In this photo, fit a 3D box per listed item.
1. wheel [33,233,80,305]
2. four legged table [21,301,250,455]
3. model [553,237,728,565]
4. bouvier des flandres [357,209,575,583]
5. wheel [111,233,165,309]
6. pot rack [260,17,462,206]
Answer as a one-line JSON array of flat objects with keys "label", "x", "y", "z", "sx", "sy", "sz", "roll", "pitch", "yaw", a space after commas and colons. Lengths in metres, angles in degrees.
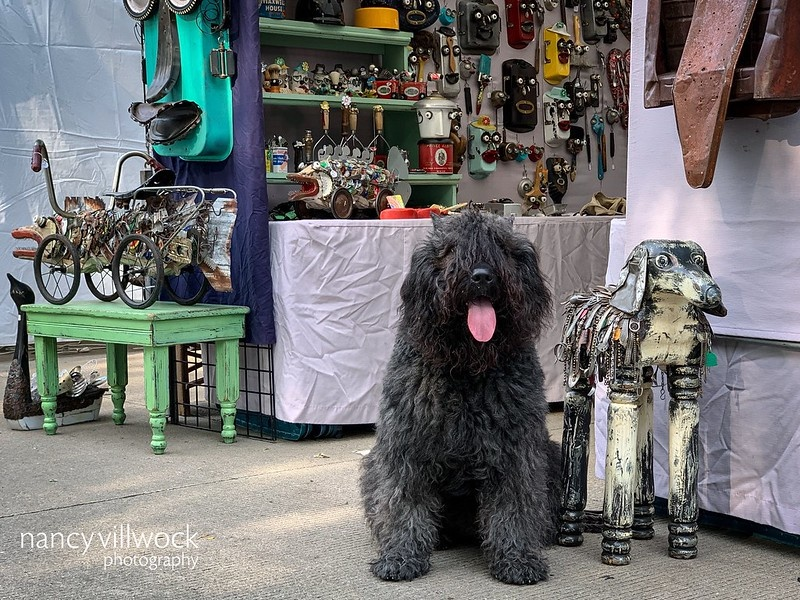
[{"label": "wheel", "x": -2.212, "y": -0.192, "z": 4.753, "sx": 0.528, "sy": 0.453, "sz": 0.204, "roll": 4, "pitch": 7, "yaw": 37}, {"label": "four legged table", "x": -1.732, "y": 0.506, "z": 4.783, "sx": 1.360, "sy": 0.940, "sz": 0.834, "roll": 0, "pitch": 1, "yaw": 27}, {"label": "model", "x": 0.926, "y": 0.385, "z": 2.862, "sx": 0.613, "sy": 1.226, "sz": 0.399, "roll": 2, "pitch": 7, "yaw": 24}, {"label": "bouvier des flandres", "x": 0.231, "y": 0.363, "z": 2.625, "sx": 0.735, "sy": 1.320, "sz": 1.227, "roll": 1, "pitch": -19, "yaw": -3}, {"label": "wheel", "x": -1.583, "y": -0.174, "z": 4.473, "sx": 0.262, "sy": 0.441, "sz": 0.630, "roll": -7, "pitch": 8, "yaw": -44}, {"label": "pot rack", "x": -0.366, "y": -1.479, "z": 6.097, "sx": 1.718, "sy": 1.406, "sz": 0.719, "roll": -5, "pitch": 7, "yaw": -31}]
